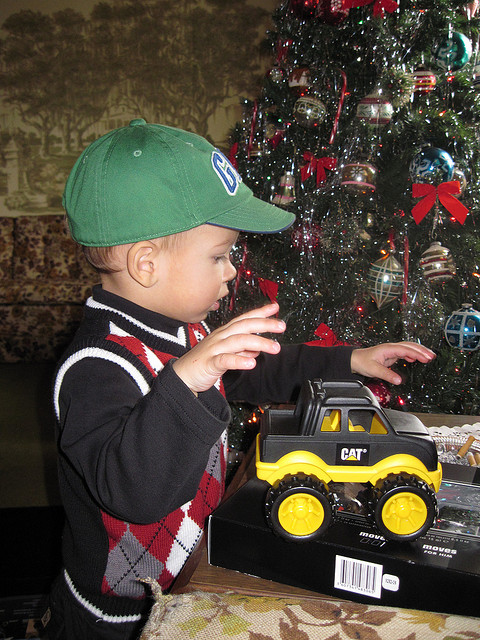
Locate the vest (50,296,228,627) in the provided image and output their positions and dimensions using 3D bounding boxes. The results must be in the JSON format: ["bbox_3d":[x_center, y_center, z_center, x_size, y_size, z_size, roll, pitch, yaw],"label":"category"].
[{"bbox_3d":[-0.123,0.190,0.792,0.255,0.433,0.259,-5,14,-29],"label":"vest"}]

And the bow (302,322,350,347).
[{"bbox_3d":[0.265,0.048,1.557,0.102,0.093,0.038,19,-20,19],"label":"bow"}]

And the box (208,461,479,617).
[{"bbox_3d":[0.104,0.177,0.604,0.221,0.123,0.312,5,8,44],"label":"box"}]

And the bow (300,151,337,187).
[{"bbox_3d":[0.231,-0.453,1.549,0.098,0.089,0.030,18,25,38],"label":"bow"}]
